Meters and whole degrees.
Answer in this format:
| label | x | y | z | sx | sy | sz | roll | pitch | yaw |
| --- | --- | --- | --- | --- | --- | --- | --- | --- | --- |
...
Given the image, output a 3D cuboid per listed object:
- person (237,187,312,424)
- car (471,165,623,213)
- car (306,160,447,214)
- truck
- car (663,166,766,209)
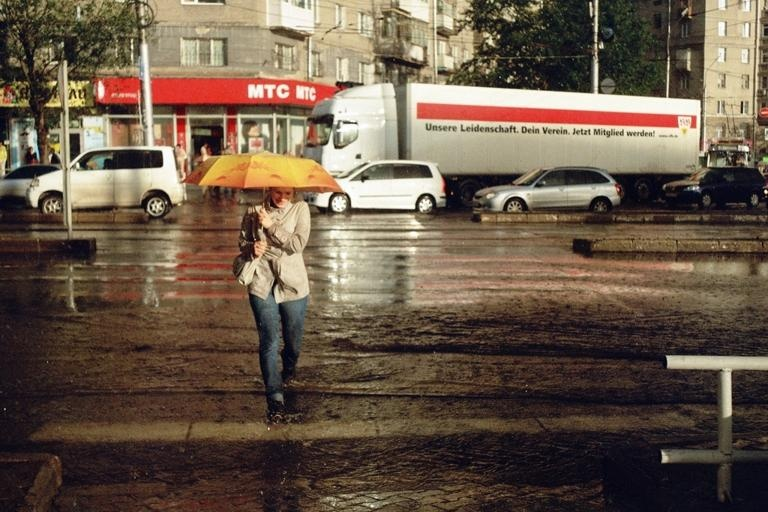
| label | x | y | z | sx | sy | sz | roll | pitch | yaw |
| --- | --- | --- | --- | --- | --- | --- | --- | --- | --- |
| person | -1.305 | 0.537 | 12.603 | 0.867 | 2.672 | 0.934 | -4 | 8 | -25 |
| car | 5.029 | -1.978 | 31.850 | 4.015 | 1.301 | 1.763 | 1 | 3 | -13 |
| car | 0.033 | -2.058 | 32.022 | 3.455 | 1.394 | 1.840 | 1 | 3 | -12 |
| truck | 4.715 | -3.682 | 39.036 | 17.007 | 4.375 | 3.449 | -2 | -2 | -29 |
| car | 11.928 | -2.455 | 37.797 | 3.220 | 1.162 | 1.564 | 1 | 1 | -18 |
